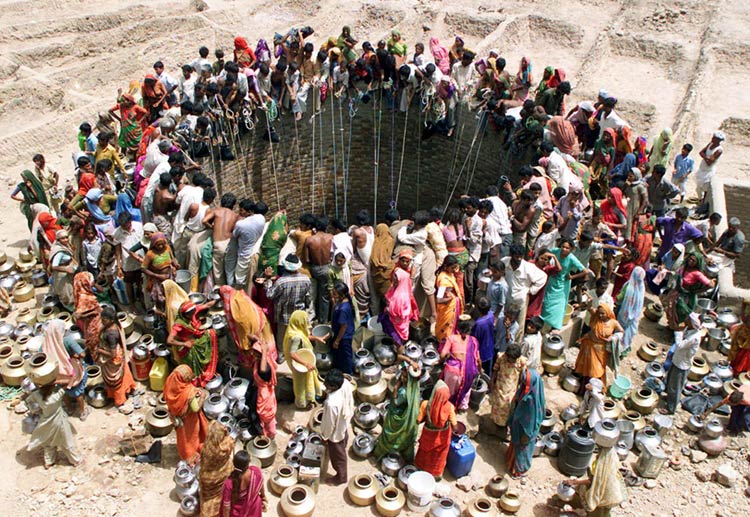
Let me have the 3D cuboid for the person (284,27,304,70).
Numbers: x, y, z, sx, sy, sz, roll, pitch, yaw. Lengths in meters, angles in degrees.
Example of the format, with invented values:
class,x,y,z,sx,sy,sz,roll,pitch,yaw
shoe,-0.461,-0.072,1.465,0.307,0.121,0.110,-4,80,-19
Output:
class,x,y,z,sx,sy,sz,roll,pitch,yaw
person,-2.022,-5.363,20.075,0.427,0.922,0.511,3,22,6

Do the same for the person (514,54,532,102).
class,x,y,z,sx,sy,sz,roll,pitch,yaw
person,3.754,-4.570,19.968,0.442,1.046,0.753,5,22,9

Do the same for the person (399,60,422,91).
class,x,y,z,sx,sy,sz,roll,pitch,yaw
person,0.950,-4.819,20.626,0.599,0.621,1.007,-7,-2,8

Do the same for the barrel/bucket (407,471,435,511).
class,x,y,z,sx,sy,sz,roll,pitch,yaw
barrel/bucket,0.877,4.162,14.319,0.595,0.632,0.600,-1,34,1

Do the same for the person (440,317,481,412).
class,x,y,z,sx,sy,sz,roll,pitch,yaw
person,1.667,2.091,15.163,0.863,1.930,0.369,-14,27,-34

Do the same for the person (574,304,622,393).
class,x,y,z,sx,sy,sz,roll,pitch,yaw
person,4.422,1.772,15.697,0.754,1.902,0.333,9,23,18

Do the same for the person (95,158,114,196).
class,x,y,z,sx,sy,sz,roll,pitch,yaw
person,-5.937,-1.758,17.482,0.375,0.909,0.325,-13,44,-18

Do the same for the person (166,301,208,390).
class,x,y,z,sx,sy,sz,roll,pitch,yaw
person,-3.518,1.663,14.926,0.550,1.536,0.876,3,44,-1

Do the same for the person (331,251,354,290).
class,x,y,z,sx,sy,sz,roll,pitch,yaw
person,-0.653,0.253,16.002,0.551,1.180,0.497,-4,52,-1

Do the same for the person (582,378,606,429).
class,x,y,z,sx,sy,sz,roll,pitch,yaw
person,4.198,2.737,15.028,0.394,0.947,0.536,7,22,14

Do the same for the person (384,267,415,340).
class,x,y,z,sx,sy,sz,roll,pitch,yaw
person,0.562,0.928,15.952,0.619,1.642,0.388,-7,23,-19

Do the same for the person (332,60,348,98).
class,x,y,z,sx,sy,sz,roll,pitch,yaw
person,-0.876,-4.764,20.690,0.481,0.882,0.391,0,22,-3

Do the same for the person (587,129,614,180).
class,x,y,z,sx,sy,sz,roll,pitch,yaw
person,5.530,-2.555,19.147,0.553,1.217,0.297,10,23,21

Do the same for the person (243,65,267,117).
class,x,y,z,sx,sy,sz,roll,pitch,yaw
person,-2.938,-4.234,19.718,0.355,1.100,0.494,-4,14,24

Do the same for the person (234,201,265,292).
class,x,y,z,sx,sy,sz,roll,pitch,yaw
person,-2.594,-0.114,16.366,0.670,1.602,0.297,-4,22,-12

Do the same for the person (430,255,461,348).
class,x,y,z,sx,sy,sz,roll,pitch,yaw
person,1.430,0.864,15.784,0.532,1.800,0.698,11,52,13

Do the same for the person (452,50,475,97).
class,x,y,z,sx,sy,sz,roll,pitch,yaw
person,2.271,-4.773,20.311,0.573,1.179,0.720,3,22,5

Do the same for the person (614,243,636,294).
class,x,y,z,sx,sy,sz,roll,pitch,yaw
person,5.389,0.226,16.999,0.351,1.123,0.466,1,46,-1

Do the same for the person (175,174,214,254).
class,x,y,z,sx,sy,sz,roll,pitch,yaw
person,-3.981,-0.732,16.601,0.710,2.064,0.694,-10,39,-39

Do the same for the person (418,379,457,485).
class,x,y,z,sx,sy,sz,roll,pitch,yaw
person,1.119,3.172,14.396,0.712,1.888,0.408,2,22,2

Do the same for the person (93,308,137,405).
class,x,y,z,sx,sy,sz,roll,pitch,yaw
person,-4.960,1.861,15.178,0.663,2.020,0.533,-6,23,-18

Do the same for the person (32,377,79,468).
class,x,y,z,sx,sy,sz,roll,pitch,yaw
person,-5.875,2.937,14.461,0.785,1.738,0.588,-4,17,-19

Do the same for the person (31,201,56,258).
class,x,y,z,sx,sy,sz,roll,pitch,yaw
person,-7.167,-0.690,17.468,0.598,1.440,0.703,-11,73,-17

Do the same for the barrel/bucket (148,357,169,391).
class,x,y,z,sx,sy,sz,roll,pitch,yaw
barrel/bucket,-4.174,2.272,15.449,0.278,0.473,0.479,8,28,0

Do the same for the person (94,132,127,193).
class,x,y,z,sx,sy,sz,roll,pitch,yaw
person,-6.219,-2.135,18.229,0.927,1.568,0.358,11,35,-8

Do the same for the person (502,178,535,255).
class,x,y,z,sx,sy,sz,roll,pitch,yaw
person,3.191,-0.852,17.128,0.559,1.435,0.493,16,26,32

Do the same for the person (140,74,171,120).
class,x,y,z,sx,sy,sz,roll,pitch,yaw
person,-5.447,-3.920,19.542,0.668,1.858,0.639,-12,65,-21

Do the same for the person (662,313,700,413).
class,x,y,z,sx,sy,sz,roll,pitch,yaw
person,6.134,2.096,15.897,0.525,1.858,1.041,10,23,20

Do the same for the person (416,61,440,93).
class,x,y,z,sx,sy,sz,roll,pitch,yaw
person,1.442,-4.685,20.377,0.627,0.773,0.527,5,22,9

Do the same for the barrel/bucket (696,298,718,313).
class,x,y,z,sx,sy,sz,roll,pitch,yaw
barrel/bucket,7.242,1.006,17.314,0.345,0.271,0.358,-2,35,1

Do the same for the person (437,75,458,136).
class,x,y,z,sx,sy,sz,roll,pitch,yaw
person,1.898,-4.002,20.670,0.497,1.637,0.935,3,22,4

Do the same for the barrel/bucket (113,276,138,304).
class,x,y,z,sx,sy,sz,roll,pitch,yaw
barrel/bucket,-5.213,0.639,16.673,0.470,0.512,0.351,2,45,3

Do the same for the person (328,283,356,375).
class,x,y,z,sx,sy,sz,roll,pitch,yaw
person,-0.630,1.373,15.666,0.517,1.967,0.480,0,22,-2

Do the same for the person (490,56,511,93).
class,x,y,z,sx,sy,sz,roll,pitch,yaw
person,3.233,-4.676,20.008,0.475,0.811,0.655,5,22,8

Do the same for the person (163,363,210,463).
class,x,y,z,sx,sy,sz,roll,pitch,yaw
person,-3.368,2.830,14.290,0.732,1.904,0.465,-5,22,-14

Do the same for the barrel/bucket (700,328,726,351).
class,x,y,z,sx,sy,sz,roll,pitch,yaw
barrel/bucket,7.263,1.738,16.953,0.445,0.443,0.258,8,23,16

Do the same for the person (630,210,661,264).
class,x,y,z,sx,sy,sz,roll,pitch,yaw
person,6.074,-0.370,17.894,0.481,1.209,2.098,9,23,19

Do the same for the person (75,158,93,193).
class,x,y,z,sx,sy,sz,roll,pitch,yaw
person,-6.335,-1.915,17.427,0.389,0.627,1.136,-7,23,-19

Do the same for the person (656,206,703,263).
class,x,y,z,sx,sy,sz,roll,pitch,yaw
person,6.847,-0.509,17.836,0.886,1.283,0.476,35,72,22

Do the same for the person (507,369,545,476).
class,x,y,z,sx,sy,sz,roll,pitch,yaw
person,2.801,3.033,14.589,0.573,2.055,0.493,5,22,10

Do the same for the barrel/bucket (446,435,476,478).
class,x,y,z,sx,sy,sz,roll,pitch,yaw
barrel/bucket,1.577,3.680,14.626,0.423,0.772,0.451,2,35,-1
